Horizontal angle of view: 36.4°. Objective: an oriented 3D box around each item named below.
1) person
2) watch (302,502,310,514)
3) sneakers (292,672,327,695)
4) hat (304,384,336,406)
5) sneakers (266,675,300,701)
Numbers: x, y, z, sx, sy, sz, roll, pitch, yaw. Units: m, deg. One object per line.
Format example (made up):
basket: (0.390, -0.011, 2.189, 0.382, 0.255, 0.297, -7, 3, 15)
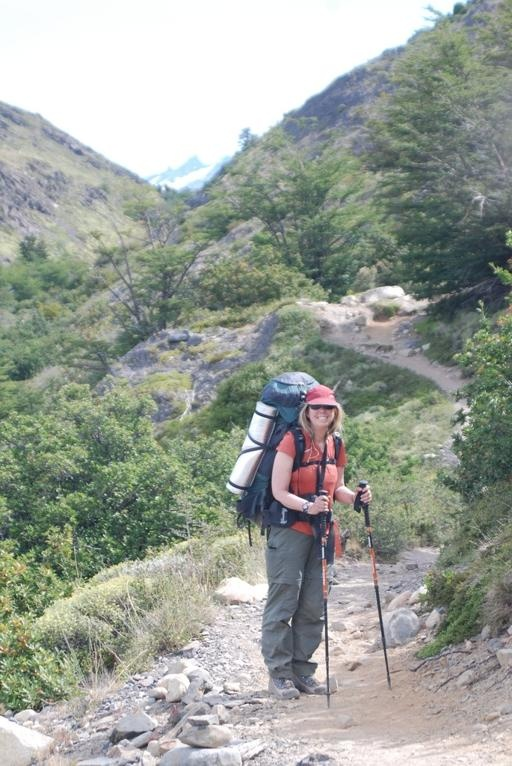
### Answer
person: (0.385, 1.092, 5.430, 0.574, 2.103, 0.698, 15, 3, 36)
watch: (0.345, 0.823, 5.165, 0.058, 0.078, 0.057, 13, 2, 22)
sneakers: (0.378, 2.129, 5.519, 0.263, 0.090, 0.090, -6, -5, 41)
hat: (0.460, 0.096, 5.326, 0.221, 0.144, 0.283, 10, 2, 4)
sneakers: (0.193, 2.088, 5.305, 0.230, 0.147, 0.178, 11, 2, 11)
